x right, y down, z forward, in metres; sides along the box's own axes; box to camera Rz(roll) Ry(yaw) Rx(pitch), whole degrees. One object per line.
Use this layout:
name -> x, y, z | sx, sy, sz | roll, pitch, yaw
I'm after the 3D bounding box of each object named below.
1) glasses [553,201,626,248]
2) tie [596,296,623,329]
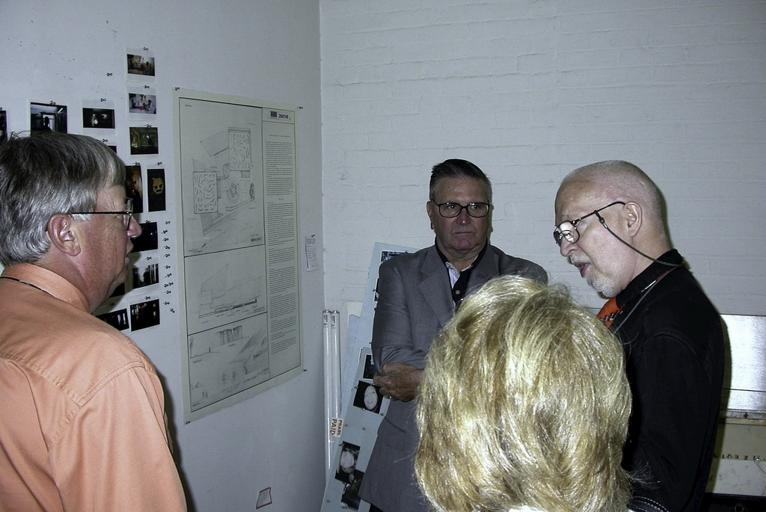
glasses -> 0.947, -0.178, 2.697 | 0.218, 0.063, 0.201 | -19, -13, -17
tie -> 1.032, 0.202, 2.628 | 0.077, 0.146, 0.115 | 28, 37, 26
